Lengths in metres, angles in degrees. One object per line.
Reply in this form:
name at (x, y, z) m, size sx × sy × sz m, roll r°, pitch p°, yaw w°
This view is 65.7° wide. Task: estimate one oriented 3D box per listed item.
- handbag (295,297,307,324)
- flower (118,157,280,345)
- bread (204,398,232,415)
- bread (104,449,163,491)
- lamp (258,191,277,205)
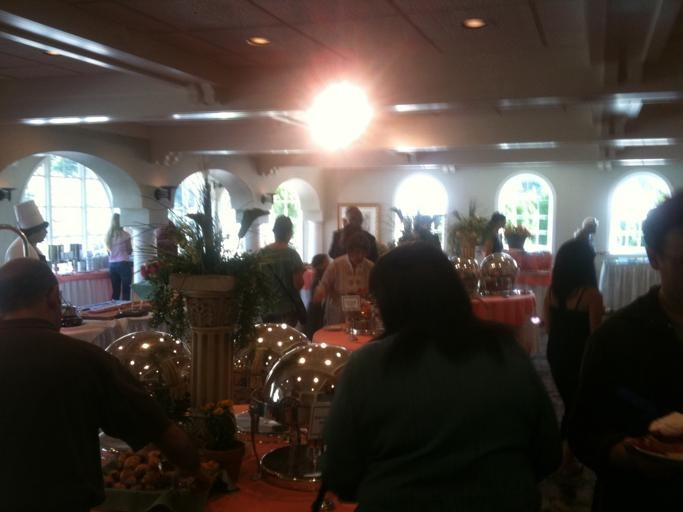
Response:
handbag at (-0.356, 0.496, 4.712) m, size 0.077 × 0.258 × 0.311 m, roll -2°, pitch 3°, yaw -3°
flower at (-0.728, 0.002, 2.525) m, size 0.672 × 0.973 × 0.666 m, roll 3°, pitch -3°, yaw -34°
bread at (-0.488, 0.581, 2.090) m, size 0.066 × 0.030 × 0.069 m, roll 0°, pitch -5°, yaw 29°
bread at (-0.752, 0.783, 1.939) m, size 0.142 × 0.077 × 0.195 m, roll 8°, pitch 0°, yaw -2°
lamp at (-1.596, -1.212, 11.230) m, size 0.218 × 0.283 × 0.397 m, roll 0°, pitch 0°, yaw 34°
